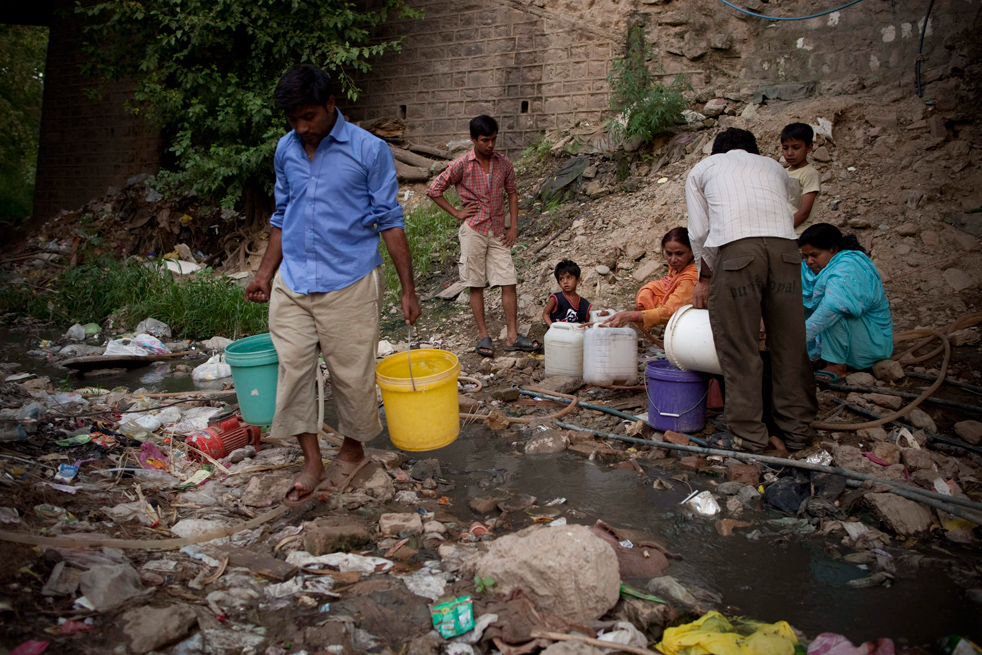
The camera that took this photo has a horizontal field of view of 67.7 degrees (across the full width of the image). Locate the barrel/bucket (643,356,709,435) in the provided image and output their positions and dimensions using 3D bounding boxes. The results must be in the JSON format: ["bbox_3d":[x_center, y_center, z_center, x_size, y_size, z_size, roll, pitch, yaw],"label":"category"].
[{"bbox_3d":[1.603,0.598,6.283,0.581,0.539,0.557,-1,6,0],"label":"barrel/bucket"}]

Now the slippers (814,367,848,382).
[{"bbox_3d":[2.976,0.413,6.380,0.178,0.069,0.062,17,50,30],"label":"slippers"}]

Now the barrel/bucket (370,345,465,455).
[{"bbox_3d":[-0.577,0.588,5.622,0.589,0.873,0.719,2,17,31],"label":"barrel/bucket"}]

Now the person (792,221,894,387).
[{"bbox_3d":[3.021,-0.259,6.642,1.091,1.225,0.930,-5,8,11],"label":"person"}]

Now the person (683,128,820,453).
[{"bbox_3d":[2.064,-0.219,5.796,1.023,2.331,0.596,2,12,15],"label":"person"}]

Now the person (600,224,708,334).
[{"bbox_3d":[1.608,-0.345,6.979,1.113,0.998,0.653,-25,31,-26],"label":"person"}]

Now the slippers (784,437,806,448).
[{"bbox_3d":[2.423,0.912,5.799,0.090,0.059,0.092,-6,-10,44],"label":"slippers"}]

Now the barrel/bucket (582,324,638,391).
[{"bbox_3d":[1.262,0.304,6.954,0.435,0.545,0.518,-2,-20,23],"label":"barrel/bucket"}]

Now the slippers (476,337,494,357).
[{"bbox_3d":[-0.071,0.202,7.720,0.200,0.194,0.186,0,11,8],"label":"slippers"}]

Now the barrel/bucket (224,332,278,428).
[{"bbox_3d":[-1.768,0.450,5.723,0.516,0.529,0.507,-3,1,0],"label":"barrel/bucket"}]

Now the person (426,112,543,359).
[{"bbox_3d":[-0.079,-0.967,7.794,0.927,2.463,0.780,-2,11,-4],"label":"person"}]

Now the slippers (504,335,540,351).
[{"bbox_3d":[0.328,0.167,7.745,0.295,0.108,0.157,-2,4,10],"label":"slippers"}]

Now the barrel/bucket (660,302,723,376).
[{"bbox_3d":[1.657,0.087,6.091,0.413,0.481,0.518,10,46,18],"label":"barrel/bucket"}]

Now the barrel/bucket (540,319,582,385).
[{"bbox_3d":[0.758,0.191,7.195,0.407,0.514,0.473,6,19,17],"label":"barrel/bucket"}]

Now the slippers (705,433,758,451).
[{"bbox_3d":[1.897,0.909,5.916,0.151,0.112,0.482,19,-9,-37],"label":"slippers"}]
